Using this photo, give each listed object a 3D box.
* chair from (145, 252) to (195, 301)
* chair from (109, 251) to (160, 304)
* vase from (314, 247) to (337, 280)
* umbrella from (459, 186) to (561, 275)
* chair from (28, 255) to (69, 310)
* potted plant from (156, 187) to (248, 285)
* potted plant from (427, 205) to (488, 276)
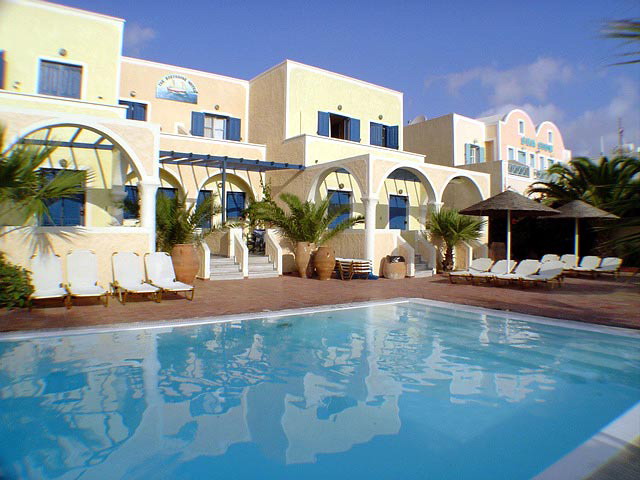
[{"bbox_3d":[-3.893,0.882,10.488,1.515,1.060,0.854,6,5,44],"label":"chair"},{"bbox_3d":[-4.725,0.916,10.392,0.956,1.154,1.950,-2,8,-28],"label":"chair"},{"bbox_3d":[0.150,0.813,15.088,0.754,1.211,0.563,3,7,18],"label":"vase"},{"bbox_3d":[7.366,-0.424,15.732,2.489,2.933,5.778,5,8,31],"label":"umbrella"},{"bbox_3d":[-5.968,0.943,9.041,0.830,1.298,0.949,-4,2,-30],"label":"chair"},{"bbox_3d":[-4.117,-0.129,14.386,2.068,2.894,3.380,4,7,27],"label":"potted plant"},{"bbox_3d":[5.734,0.008,17.719,2.516,2.868,2.565,0,3,-16],"label":"potted plant"}]
